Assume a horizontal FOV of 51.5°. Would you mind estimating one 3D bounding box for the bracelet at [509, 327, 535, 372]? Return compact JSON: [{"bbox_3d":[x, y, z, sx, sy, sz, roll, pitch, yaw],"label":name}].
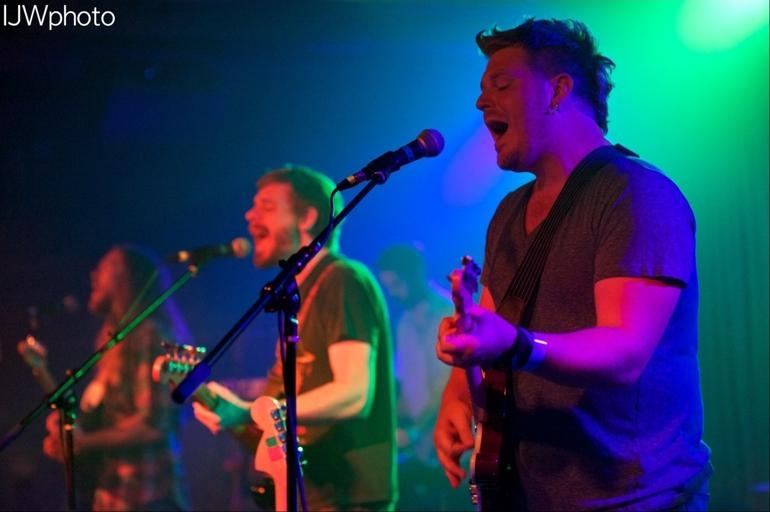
[{"bbox_3d":[0.640,0.431,3.751,0.116,0.192,0.064,3,-7,-11],"label":"bracelet"}]
